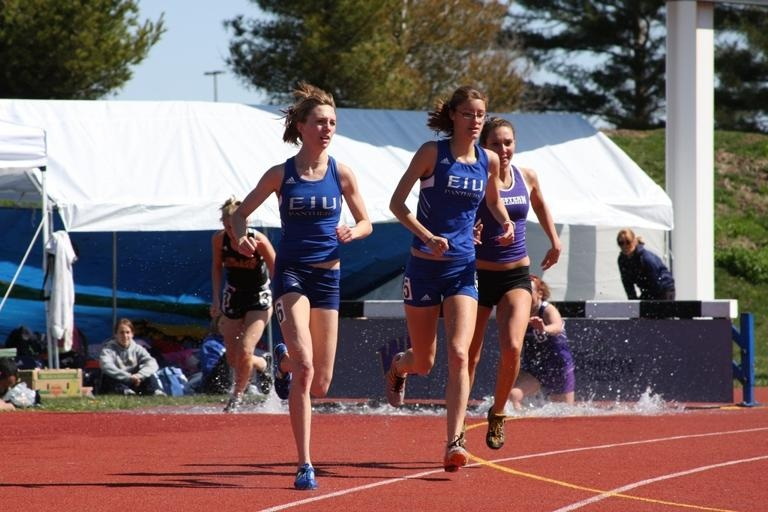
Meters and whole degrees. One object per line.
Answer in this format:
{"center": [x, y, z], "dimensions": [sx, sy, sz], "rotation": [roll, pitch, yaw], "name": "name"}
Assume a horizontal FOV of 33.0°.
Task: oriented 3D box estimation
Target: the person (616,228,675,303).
{"center": [4.626, 0.192, 23.074], "dimensions": [1.085, 1.234, 0.472], "rotation": [4, 7, 40], "name": "person"}

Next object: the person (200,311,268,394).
{"center": [-3.026, 1.773, 23.132], "dimensions": [1.286, 0.905, 1.780], "rotation": [-4, 4, 24], "name": "person"}

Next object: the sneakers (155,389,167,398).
{"center": [-3.800, 2.351, 22.006], "dimensions": [0.123, 0.047, 0.124], "rotation": [1, 35, -24], "name": "sneakers"}

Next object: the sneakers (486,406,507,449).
{"center": [1.461, 2.262, 16.910], "dimensions": [0.198, 0.611, 0.255], "rotation": [0, -8, -9], "name": "sneakers"}

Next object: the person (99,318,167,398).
{"center": [-4.377, 1.802, 22.185], "dimensions": [0.927, 1.465, 1.399], "rotation": [-1, -10, -21], "name": "person"}

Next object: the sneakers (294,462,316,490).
{"center": [-0.967, 2.692, 15.867], "dimensions": [0.275, 0.312, 0.149], "rotation": [-1, 5, -5], "name": "sneakers"}

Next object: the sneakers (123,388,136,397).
{"center": [-4.319, 2.326, 21.980], "dimensions": [0.160, 0.086, 0.106], "rotation": [18, 19, -8], "name": "sneakers"}

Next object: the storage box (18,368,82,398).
{"center": [-5.460, 2.103, 21.358], "dimensions": [0.990, 0.466, 0.310], "rotation": [-2, 6, -16], "name": "storage box"}
